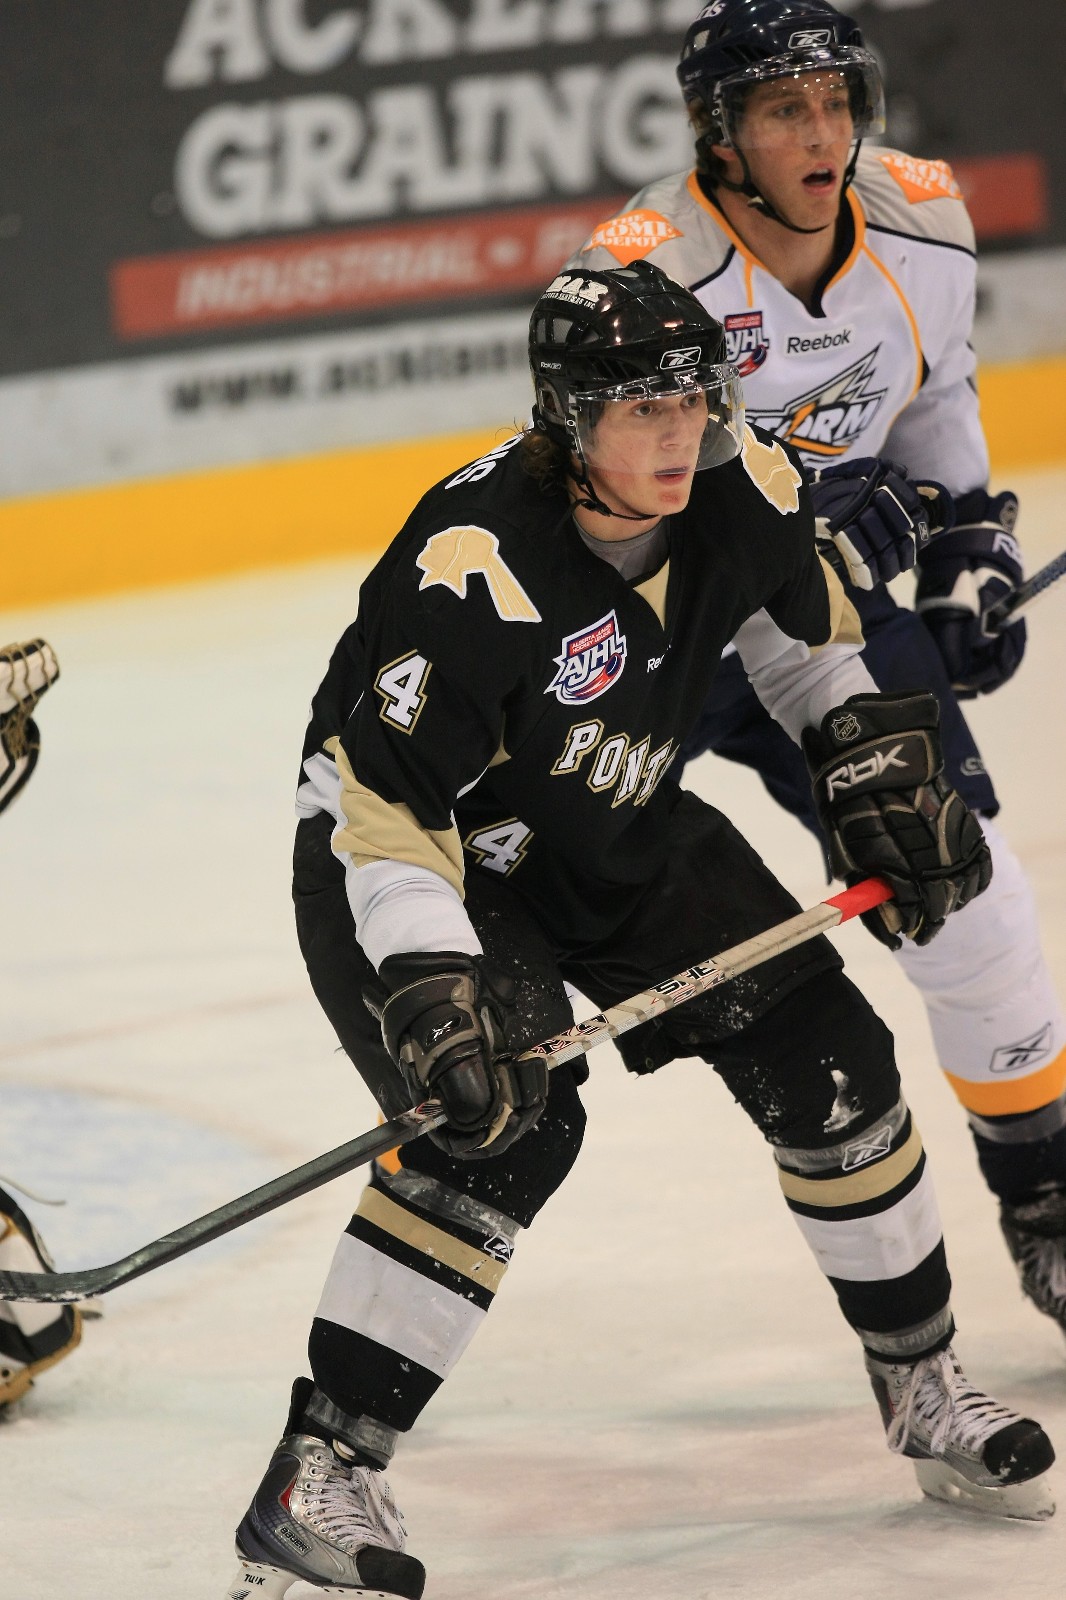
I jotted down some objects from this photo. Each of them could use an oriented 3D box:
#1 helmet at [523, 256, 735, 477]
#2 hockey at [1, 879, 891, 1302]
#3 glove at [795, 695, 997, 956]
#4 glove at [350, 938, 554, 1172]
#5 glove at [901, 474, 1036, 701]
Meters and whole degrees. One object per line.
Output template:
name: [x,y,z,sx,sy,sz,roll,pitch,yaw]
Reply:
helmet: [0.095,-0.396,1.557,0.167,0.195,0.216,-18,31,-25]
hockey: [-0.094,0.372,1.976,1.444,0.057,0.280,-18,-8,-43]
glove: [0.391,0.018,1.811,0.192,0.261,0.123,-21,2,14]
glove: [-0.144,0.247,1.460,0.250,0.145,0.298,3,-21,-9]
glove: [0.618,-0.296,2.379,0.138,0.283,0.173,12,-8,-43]
